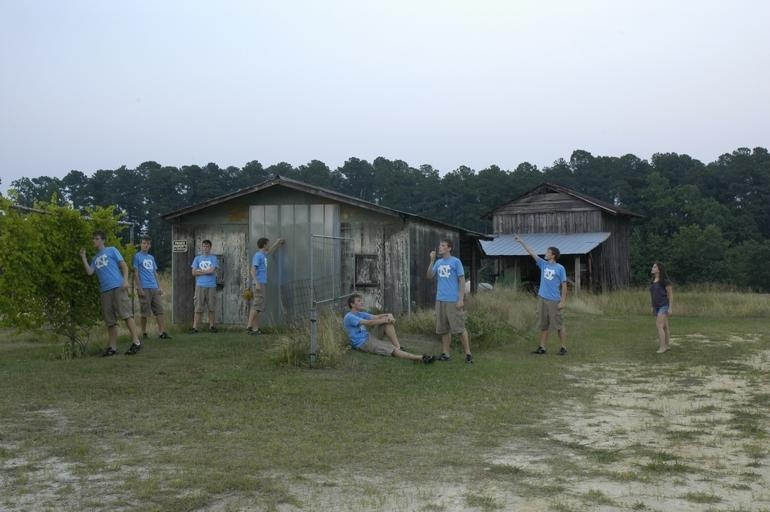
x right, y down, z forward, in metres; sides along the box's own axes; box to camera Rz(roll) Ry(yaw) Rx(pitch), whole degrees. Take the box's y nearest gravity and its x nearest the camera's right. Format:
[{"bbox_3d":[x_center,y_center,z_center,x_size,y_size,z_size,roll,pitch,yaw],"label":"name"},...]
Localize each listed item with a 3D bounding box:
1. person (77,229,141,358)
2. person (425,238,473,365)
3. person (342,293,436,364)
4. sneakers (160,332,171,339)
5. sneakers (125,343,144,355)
[{"bbox_3d":[-5.174,0.687,15.883,0.627,2.273,1.061,-12,18,-43],"label":"person"},{"bbox_3d":[1.302,0.878,16.565,0.897,2.566,1.524,1,13,3],"label":"person"},{"bbox_3d":[0.098,1.397,16.334,1.858,1.143,0.872,5,7,26],"label":"person"},{"bbox_3d":[-4.685,1.695,17.741,0.329,0.144,0.113,0,-2,20],"label":"sneakers"},{"bbox_3d":[-4.787,1.783,15.929,0.372,0.166,0.138,1,-5,4],"label":"sneakers"}]
